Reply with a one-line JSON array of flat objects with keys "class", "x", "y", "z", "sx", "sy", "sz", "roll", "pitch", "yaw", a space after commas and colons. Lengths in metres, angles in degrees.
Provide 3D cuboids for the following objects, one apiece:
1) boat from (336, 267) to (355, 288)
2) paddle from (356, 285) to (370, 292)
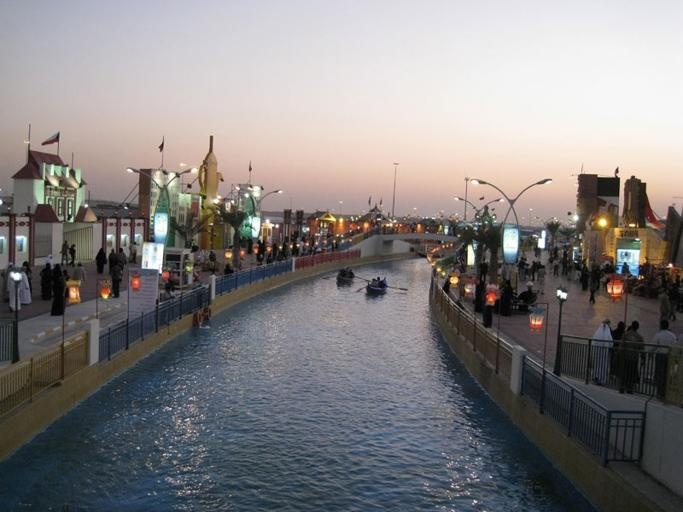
[{"class": "boat", "x": 0.404, "y": 2.253, "z": 57.360, "sx": 0.874, "sy": 1.096, "sz": 2.728, "roll": 9, "pitch": 9, "yaw": 10}, {"class": "paddle", "x": 1.898, "y": 3.195, "z": 53.132, "sx": 0.438, "sy": 0.439, "sz": 1.481, "roll": -49, "pitch": -11, "yaw": 29}]
